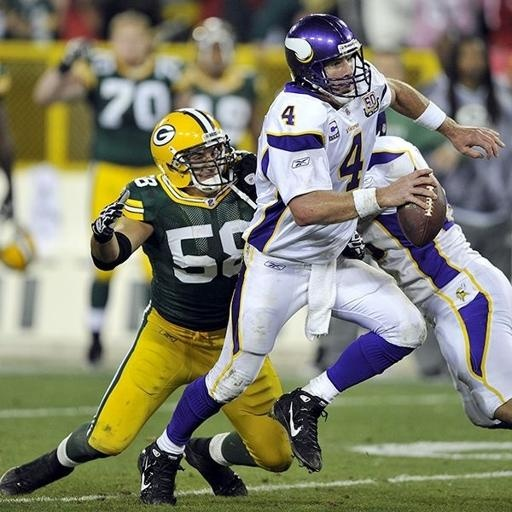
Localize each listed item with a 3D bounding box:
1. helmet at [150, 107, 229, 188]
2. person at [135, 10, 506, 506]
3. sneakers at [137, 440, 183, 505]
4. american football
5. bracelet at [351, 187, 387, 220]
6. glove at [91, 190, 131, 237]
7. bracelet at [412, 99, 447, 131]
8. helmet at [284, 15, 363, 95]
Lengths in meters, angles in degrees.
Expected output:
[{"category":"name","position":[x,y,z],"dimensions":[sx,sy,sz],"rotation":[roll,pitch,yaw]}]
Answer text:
[{"category":"helmet","position":[-0.249,-0.416,2.745],"dimensions":[0.352,0.229,0.241],"rotation":[11,25,30]},{"category":"person","position":[0.226,0.031,2.514],"dimensions":[0.782,1.470,1.514],"rotation":[19,42,20]},{"category":"sneakers","position":[-0.349,0.762,2.589],"dimensions":[0.104,0.122,0.254],"rotation":[29,26,-33]},{"category":"american football","position":[0.581,-0.152,2.453],"dimensions":[0.169,0.145,0.211],"rotation":[-10,51,36]},{"category":"bracelet","position":[0.335,-0.162,2.206],"dimensions":[0.091,0.082,0.079],"rotation":[3,39,2]},{"category":"glove","position":[-0.451,-0.137,2.415],"dimensions":[0.055,0.079,0.205],"rotation":[50,44,-10]},{"category":"bracelet","position":[0.685,-0.539,2.841],"dimensions":[0.104,0.100,0.131],"rotation":[32,4,11]},{"category":"helmet","position":[0.227,-0.693,2.470],"dimensions":[0.309,0.206,0.218],"rotation":[27,45,30]}]
